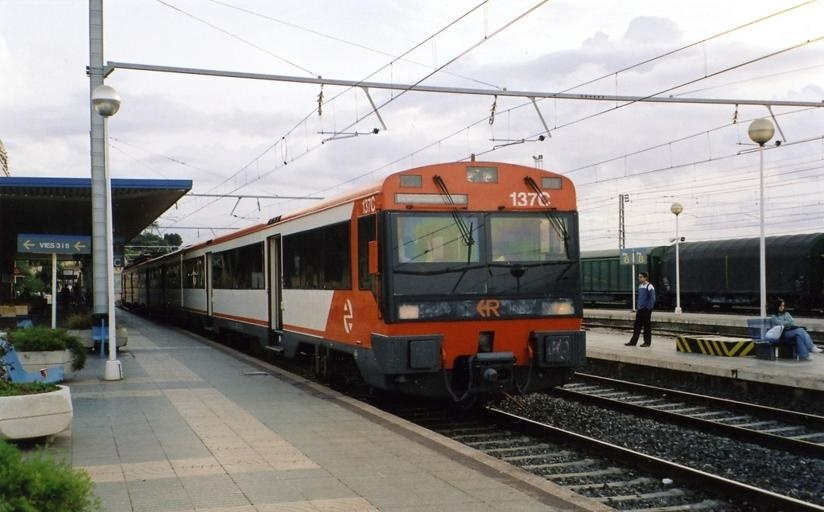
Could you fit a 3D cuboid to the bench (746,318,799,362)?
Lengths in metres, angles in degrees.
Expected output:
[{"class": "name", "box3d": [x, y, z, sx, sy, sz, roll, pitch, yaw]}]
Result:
[{"class": "bench", "box3d": [9.080, 2.118, 19.194, 0.789, 0.764, 1.055, 1, -7, -15]}]

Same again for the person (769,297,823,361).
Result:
[{"class": "person", "box3d": [9.410, 1.843, 18.926, 0.911, 1.433, 0.888, -2, -2, 32]}]

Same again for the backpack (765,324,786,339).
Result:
[{"class": "backpack", "box3d": [9.003, 1.890, 18.778, 0.425, 0.377, 0.204, -2, -2, 24]}]
